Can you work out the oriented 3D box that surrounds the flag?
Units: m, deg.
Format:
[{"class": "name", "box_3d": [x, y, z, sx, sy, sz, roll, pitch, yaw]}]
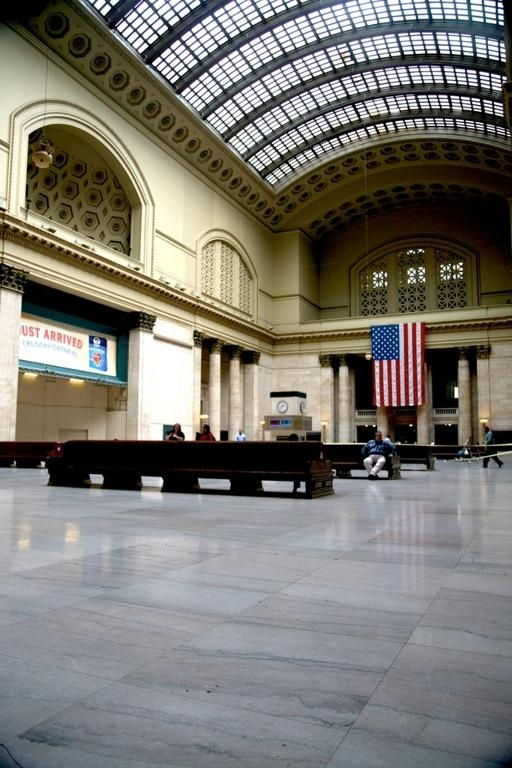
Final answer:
[{"class": "flag", "box_3d": [8.718, -1.271, 36.117, 3.054, 5.085, 1.349, -2, -5, 15]}]

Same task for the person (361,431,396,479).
[{"class": "person", "box_3d": [3.021, 1.774, 14.612, 0.794, 1.154, 1.601, -1, -5, 10]}]

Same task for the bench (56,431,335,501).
[{"class": "bench", "box_3d": [-1.333, 1.481, 10.640, 5.141, 0.933, 0.954, -2, -5, 23]}]
